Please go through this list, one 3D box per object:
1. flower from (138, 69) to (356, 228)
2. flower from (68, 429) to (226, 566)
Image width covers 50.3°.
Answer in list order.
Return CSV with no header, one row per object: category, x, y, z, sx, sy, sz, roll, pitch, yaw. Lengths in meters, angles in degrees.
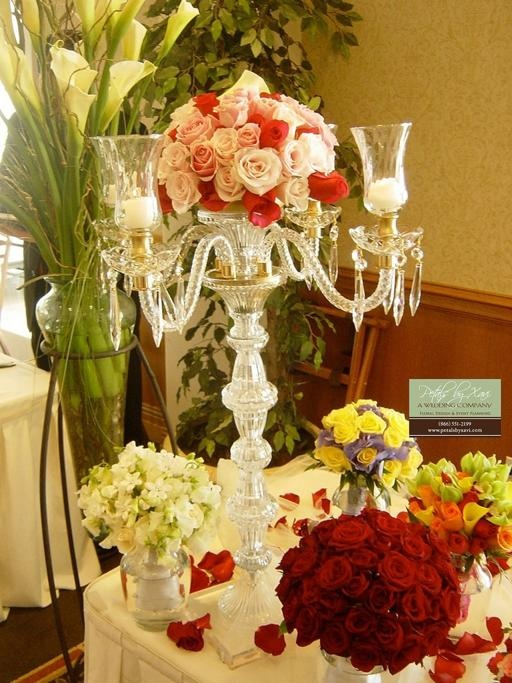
flower,-0.016,-0.253,0.807,0.263,0.213,0.253,-3,25,-9
flower,-0.198,0.240,0.953,0.219,0.210,0.201,2,0,-25
